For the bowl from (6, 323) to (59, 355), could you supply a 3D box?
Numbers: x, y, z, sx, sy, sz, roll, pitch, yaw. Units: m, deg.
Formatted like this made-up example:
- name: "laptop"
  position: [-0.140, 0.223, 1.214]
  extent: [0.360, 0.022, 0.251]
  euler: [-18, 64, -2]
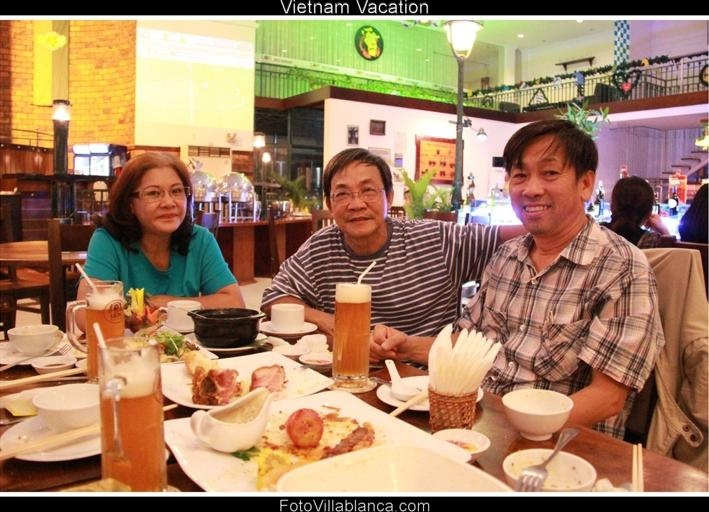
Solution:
- name: "bowl"
  position: [-1.002, 0.257, 1.629]
  extent: [0.119, 0.055, 0.099]
  euler: [3, 1, -11]

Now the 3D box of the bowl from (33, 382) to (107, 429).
- name: "bowl"
  position: [-0.604, 0.297, 1.101]
  extent: [0.141, 0.062, 0.138]
  euler: [0, -1, 0]

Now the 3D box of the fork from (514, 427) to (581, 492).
- name: "fork"
  position: [0.410, 0.397, 1.093]
  extent: [0.058, 0.031, 0.357]
  euler: [9, 3, 28]

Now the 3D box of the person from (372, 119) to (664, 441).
- name: "person"
  position: [0.826, 0.160, 2.457]
  extent: [1.088, 1.486, 1.145]
  euler: [8, -2, -30]

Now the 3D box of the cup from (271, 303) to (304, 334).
- name: "cup"
  position: [-0.254, 0.234, 1.936]
  extent: [0.106, 0.078, 0.105]
  euler: [0, -2, 0]

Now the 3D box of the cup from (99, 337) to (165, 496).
- name: "cup"
  position: [-0.390, 0.287, 0.918]
  extent: [0.103, 0.269, 0.073]
  euler: [-4, 9, -24]

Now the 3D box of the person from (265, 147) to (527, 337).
- name: "person"
  position: [0.165, 0.006, 2.471]
  extent: [1.374, 0.988, 0.787]
  euler: [0, 6, 11]

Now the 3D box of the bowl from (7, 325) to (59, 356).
- name: "bowl"
  position: [-1.000, 0.264, 1.629]
  extent: [0.120, 0.056, 0.100]
  euler: [3, -2, -21]

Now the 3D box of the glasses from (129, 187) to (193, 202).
- name: "glasses"
  position: [-0.918, -0.291, 2.464]
  extent: [0.224, 0.068, 0.097]
  euler: [-4, 9, -30]

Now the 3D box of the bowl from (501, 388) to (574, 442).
- name: "bowl"
  position: [0.422, 0.355, 1.203]
  extent: [0.119, 0.060, 0.120]
  euler: [-1, -4, 0]

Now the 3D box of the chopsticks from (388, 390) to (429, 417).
- name: "chopsticks"
  position: [0.136, 0.371, 1.294]
  extent: [0.026, 0.023, 0.157]
  euler: [9, 26, 45]

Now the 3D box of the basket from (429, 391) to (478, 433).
- name: "basket"
  position: [0.227, 0.348, 1.183]
  extent: [0.098, 0.081, 0.097]
  euler: [0, -5, 1]

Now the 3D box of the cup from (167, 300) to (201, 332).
- name: "cup"
  position: [-0.649, 0.232, 2.007]
  extent: [0.106, 0.097, 0.134]
  euler: [0, 1, -16]
